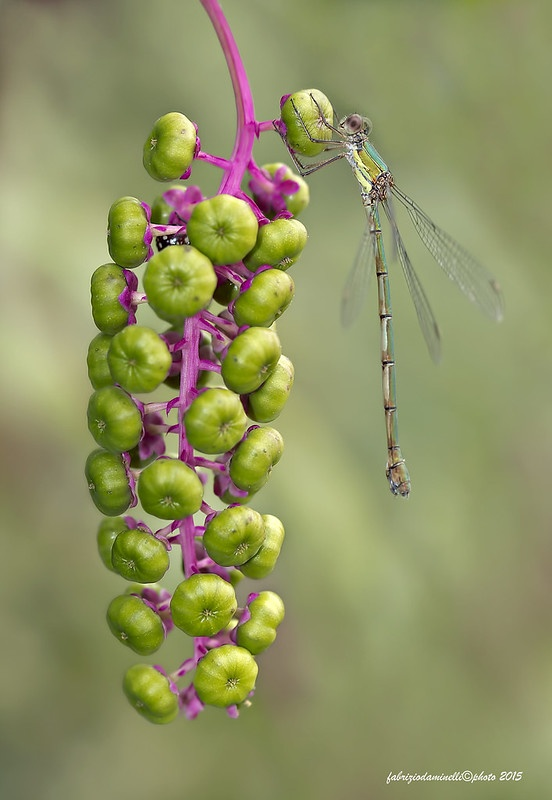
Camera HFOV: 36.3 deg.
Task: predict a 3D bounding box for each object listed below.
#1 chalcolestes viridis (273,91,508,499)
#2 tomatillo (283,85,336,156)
[{"bbox_3d":[0.269,-0.308,2.069,0.418,0.553,0.946,2,-56,9],"label":"chalcolestes viridis"},{"bbox_3d":[0.063,-0.538,1.648,0.083,0.113,0.124,-20,-56,-31],"label":"tomatillo"}]
